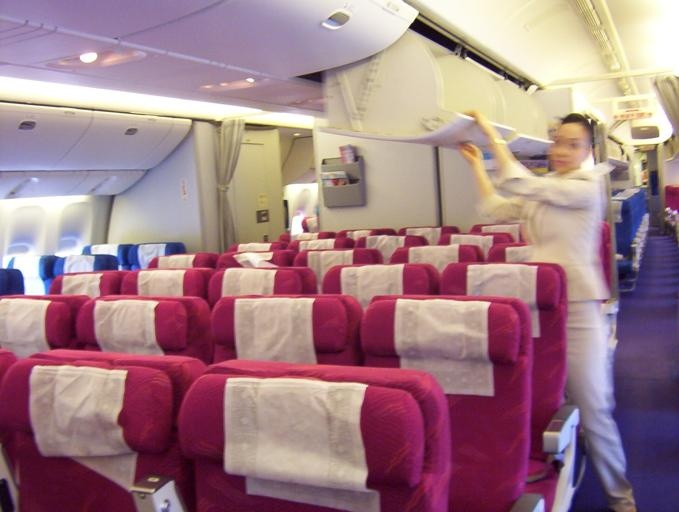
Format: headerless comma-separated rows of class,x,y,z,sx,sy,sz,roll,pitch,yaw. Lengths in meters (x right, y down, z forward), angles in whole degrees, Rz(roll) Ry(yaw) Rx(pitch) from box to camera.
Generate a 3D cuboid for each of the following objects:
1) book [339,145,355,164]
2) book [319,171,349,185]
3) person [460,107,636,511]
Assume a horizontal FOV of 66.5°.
book,0.143,-1.722,8.801,0.304,0.351,0.204,7,17,32
book,-0.082,-1.305,8.848,0.499,0.243,0.117,-2,0,15
person,0.990,0.237,2.438,0.644,1.678,0.278,-2,0,28
